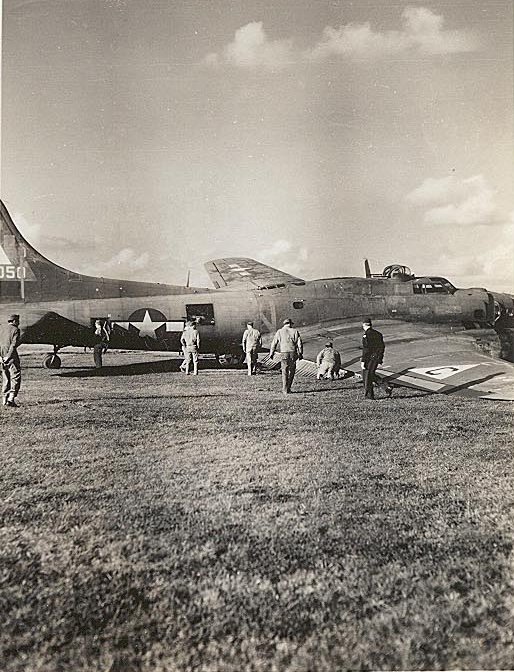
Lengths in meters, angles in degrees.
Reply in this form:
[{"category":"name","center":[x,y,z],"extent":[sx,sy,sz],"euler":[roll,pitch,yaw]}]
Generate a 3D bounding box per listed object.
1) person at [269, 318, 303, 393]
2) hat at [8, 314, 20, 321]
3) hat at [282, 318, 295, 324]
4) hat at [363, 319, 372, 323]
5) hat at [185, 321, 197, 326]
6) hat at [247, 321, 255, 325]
[{"category":"person","center":[0.264,0.152,4.908],"extent":[0.297,0.624,0.701],"euler":[2,13,2]},{"category":"hat","center":[-1.986,-0.151,4.375],"extent":[0.060,0.068,0.076],"euler":[-4,-5,3]},{"category":"hat","center":[0.316,-0.158,5.488],"extent":[0.092,0.044,0.112],"euler":[-1,-9,-1]},{"category":"hat","center":[0.972,-0.134,4.697],"extent":[0.060,0.030,0.067],"euler":[4,11,15]},{"category":"hat","center":[-0.726,-0.135,5.863],"extent":[0.065,0.029,0.066],"euler":[9,21,40]},{"category":"hat","center":[-0.063,-0.138,5.765],"extent":[0.053,0.053,0.054],"euler":[-1,0,26]}]
